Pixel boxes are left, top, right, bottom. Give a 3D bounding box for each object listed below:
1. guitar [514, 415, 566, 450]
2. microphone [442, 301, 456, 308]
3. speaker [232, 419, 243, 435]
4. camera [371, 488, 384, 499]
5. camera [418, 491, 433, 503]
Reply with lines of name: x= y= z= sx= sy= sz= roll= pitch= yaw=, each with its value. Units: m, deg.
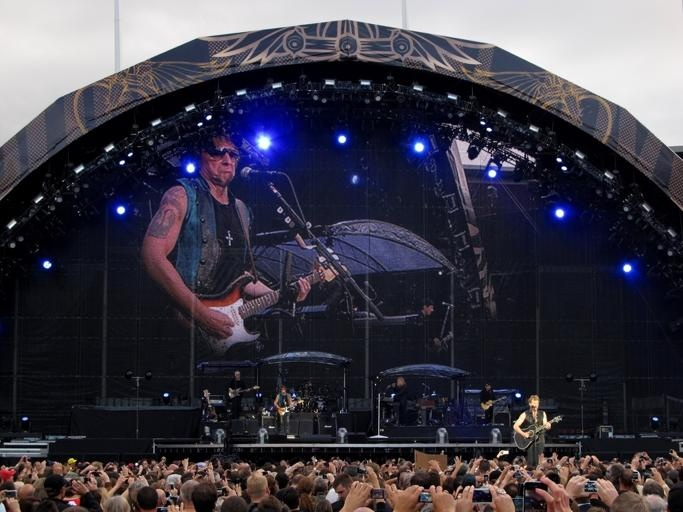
guitar: x=5.952 y=5.361 z=39.615 sx=1.840 sy=0.671 sz=0.263 roll=-30 pitch=-6 yaw=-1
microphone: x=3.817 y=1.730 z=46.319 sx=0.570 sy=0.147 sz=0.189 roll=17 pitch=-8 yaw=-2
speaker: x=-3.350 y=5.468 z=41.630 sx=0.544 sy=0.616 sz=0.384 roll=1 pitch=-14 yaw=-6
camera: x=0.709 y=4.648 z=25.403 sx=0.348 sy=0.197 sz=0.184 roll=1 pitch=1 yaw=3
camera: x=1.605 y=4.622 z=25.059 sx=0.379 sy=0.280 sz=0.185 roll=0 pitch=-9 yaw=1
